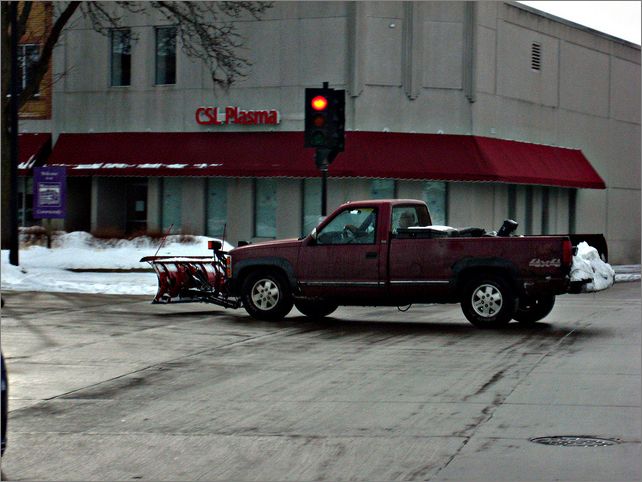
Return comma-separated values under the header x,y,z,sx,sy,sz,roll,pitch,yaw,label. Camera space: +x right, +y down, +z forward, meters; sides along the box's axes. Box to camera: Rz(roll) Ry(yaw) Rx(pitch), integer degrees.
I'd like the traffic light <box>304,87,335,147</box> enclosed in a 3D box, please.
x,y,z,sx,sy,sz,roll,pitch,yaw,label
-0.038,-2.427,18.235,0.649,1.183,0.283,1,8,21,traffic light

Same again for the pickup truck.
x,y,z,sx,sy,sz,roll,pitch,yaw,label
1.580,0.325,16.767,5.668,1.494,2.387,1,-1,17,pickup truck
